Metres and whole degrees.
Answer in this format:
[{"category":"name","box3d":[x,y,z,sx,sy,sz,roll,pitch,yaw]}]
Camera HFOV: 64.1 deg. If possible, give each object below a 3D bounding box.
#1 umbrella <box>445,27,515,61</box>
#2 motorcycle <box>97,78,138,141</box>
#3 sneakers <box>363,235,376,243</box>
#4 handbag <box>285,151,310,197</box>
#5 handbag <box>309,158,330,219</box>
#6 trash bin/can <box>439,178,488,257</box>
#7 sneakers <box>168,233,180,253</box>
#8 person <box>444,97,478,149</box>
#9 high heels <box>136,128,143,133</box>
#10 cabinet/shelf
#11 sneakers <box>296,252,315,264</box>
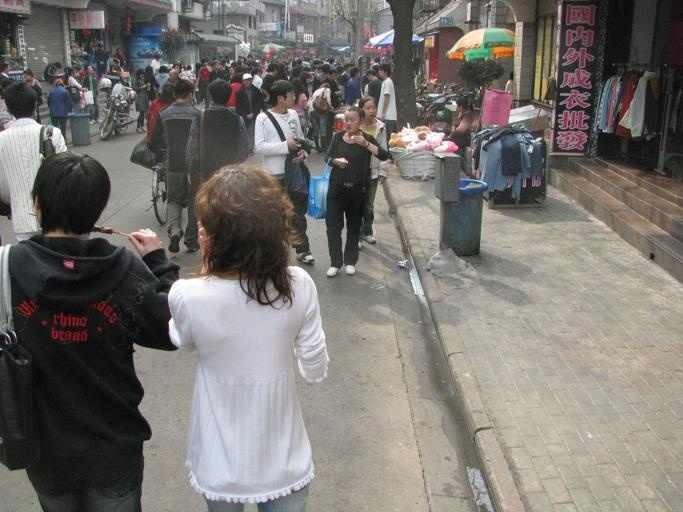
[{"category":"umbrella","box3d":[4.726,-7.113,18.408,1.726,0.637,1.754,-16,26,-19]},{"category":"motorcycle","box3d":[-7.671,-5.037,18.664,0.921,1.737,2.657,16,20,-13]},{"category":"sneakers","box3d":[0.448,-0.261,8.705,0.091,0.090,0.208,-4,6,-24]},{"category":"handbag","box3d":[-0.573,-1.059,7.282,0.293,0.614,0.262,3,-13,-12]},{"category":"handbag","box3d":[-0.290,-0.950,7.445,0.267,0.808,0.559,9,27,8]},{"category":"trash bin/can","box3d":[1.689,-0.563,7.743,0.725,1.046,0.741,-7,22,-7]},{"category":"sneakers","box3d":[-2.370,-0.174,7.721,0.122,0.349,0.139,6,22,-19]},{"category":"person","box3d":[2.906,-3.100,13.038,0.633,1.250,1.252,5,18,12]},{"category":"high heels","box3d":[-7.399,-4.570,19.968,0.146,0.126,0.367,12,7,-7]},{"category":"cabinet/shelf","box3d":[3.264,-1.712,10.398,1.116,1.531,1.358,3,13,9]},{"category":"sneakers","box3d":[-0.504,0.028,7.645,0.103,0.132,0.264,-11,23,-34]}]
